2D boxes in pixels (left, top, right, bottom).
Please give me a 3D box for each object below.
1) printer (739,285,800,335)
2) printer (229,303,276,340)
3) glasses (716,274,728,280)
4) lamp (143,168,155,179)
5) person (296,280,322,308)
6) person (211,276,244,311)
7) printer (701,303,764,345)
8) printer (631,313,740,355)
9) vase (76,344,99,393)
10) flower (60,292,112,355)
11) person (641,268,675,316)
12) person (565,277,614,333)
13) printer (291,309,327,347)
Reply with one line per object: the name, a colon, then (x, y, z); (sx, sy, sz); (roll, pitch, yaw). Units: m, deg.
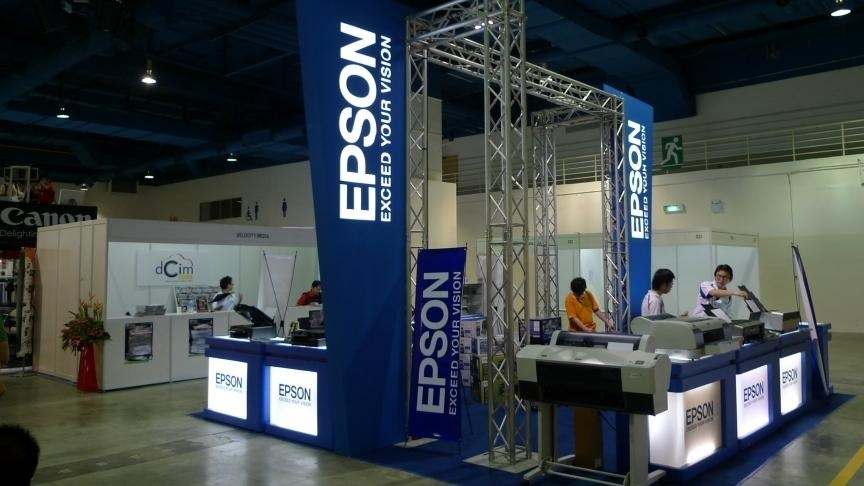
printer: (5.912, 1.192, 9.889); (0.586, 0.511, 0.773); (0, 2, -37)
printer: (-3.248, 1.445, 10.147); (0.608, 0.532, 0.593); (-3, -4, 35)
glasses: (5.307, 0.617, 10.145); (0.219, 0.141, 0.117); (0, -1, 14)
lamp: (-11.462, -2.810, 22.829); (0.459, 0.455, 0.449); (3, -7, -35)
person: (-2.979, 1.215, 13.656); (0.530, 0.587, 1.006); (0, -1, -25)
person: (-4.735, 1.296, 12.840); (0.706, 0.982, 0.458); (0, 4, 19)
printer: (5.074, 1.324, 9.332); (0.529, 0.567, 0.849); (-9, -4, -6)
printer: (3.829, 1.371, 8.334); (0.820, 0.398, 1.086); (0, -3, -39)
vase: (-7.086, 2.549, 11.477); (0.469, 0.982, 0.185); (-1, -1, 20)
flower: (-7.108, 1.722, 11.500); (1.009, 1.196, 0.535); (-1, -1, 37)
person: (3.971, 0.857, 9.842); (0.458, 0.782, 0.736); (-1, -1, 16)
person: (2.915, 1.200, 10.871); (0.456, 1.030, 0.826); (-1, -1, 29)
printer: (-2.071, 1.438, 9.627); (0.727, 0.359, 0.681); (-1, 7, 4)
